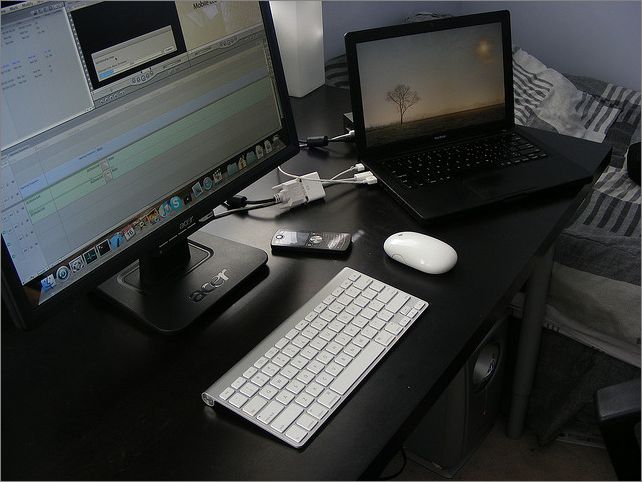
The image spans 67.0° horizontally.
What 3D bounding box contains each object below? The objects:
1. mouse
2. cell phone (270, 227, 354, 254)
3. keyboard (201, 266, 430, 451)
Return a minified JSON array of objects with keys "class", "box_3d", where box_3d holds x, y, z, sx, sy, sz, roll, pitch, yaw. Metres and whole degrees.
[{"class":"mouse","box_3d":[0.192,0.015,0.939,0.145,0.041,0.102,22,33,29]},{"class":"cell phone","box_3d":[-0.018,0.002,0.969,0.140,0.015,0.065,4,47,8]},{"class":"keyboard","box_3d":[0.003,0.171,0.775,0.165,0.029,0.369,28,50,32]}]
